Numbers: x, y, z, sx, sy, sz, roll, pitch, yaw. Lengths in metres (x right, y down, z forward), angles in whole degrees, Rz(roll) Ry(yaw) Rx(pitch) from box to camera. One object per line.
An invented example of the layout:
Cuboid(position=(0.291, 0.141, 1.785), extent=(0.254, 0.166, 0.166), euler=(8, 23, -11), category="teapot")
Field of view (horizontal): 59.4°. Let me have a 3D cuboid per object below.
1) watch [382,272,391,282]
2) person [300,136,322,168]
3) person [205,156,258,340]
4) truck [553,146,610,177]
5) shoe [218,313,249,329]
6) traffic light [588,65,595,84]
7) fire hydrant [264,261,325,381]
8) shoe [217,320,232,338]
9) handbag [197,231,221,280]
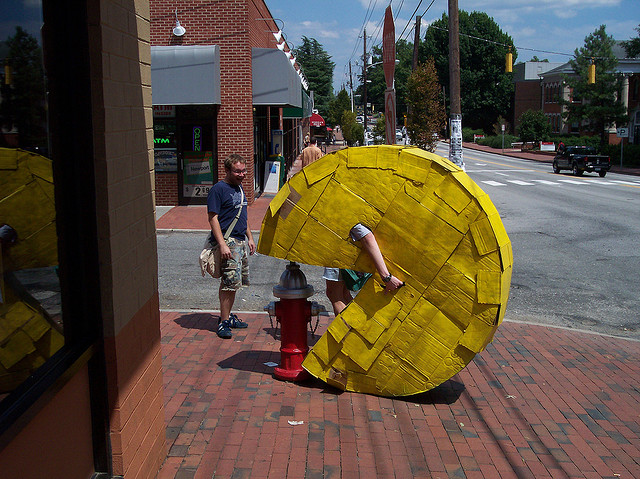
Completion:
Cuboid(position=(0.637, 0.372, 5.358), extent=(0.071, 0.047, 0.063), euler=(-43, -8, -40), category="watch")
Cuboid(position=(-0.233, -2.366, 15.332), extent=(0.444, 0.728, 1.121), euler=(1, 10, -1), category="person")
Cuboid(position=(-1.154, 0.112, 7.189), extent=(0.435, 2.304, 0.614), euler=(6, 10, 31), category="person")
Cuboid(position=(16.327, -4.711, 35.204), extent=(1.658, 1.342, 3.274), euler=(0, 13, -6), category="truck")
Cuboid(position=(-1.115, 1.126, 7.501), extent=(0.159, 0.214, 0.466), euler=(3, 2, 22), category="shoe")
Cuboid(position=(17.495, -10.587, 36.055), extent=(0.279, 1.171, 1.556), euler=(5, 11, 29), category="traffic light")
Cuboid(position=(-0.273, 0.869, 5.955), extent=(0.578, 1.277, 0.243), euler=(0, 8, -5), category="fire hydrant")
Cuboid(position=(-1.220, 1.155, 7.185), extent=(0.181, 0.207, 0.143), euler=(-1, 9, -12), category="shoe")
Cuboid(position=(-1.377, 0.254, 7.128), extent=(0.215, 0.466, 0.339), euler=(-2, 16, 21), category="handbag")
